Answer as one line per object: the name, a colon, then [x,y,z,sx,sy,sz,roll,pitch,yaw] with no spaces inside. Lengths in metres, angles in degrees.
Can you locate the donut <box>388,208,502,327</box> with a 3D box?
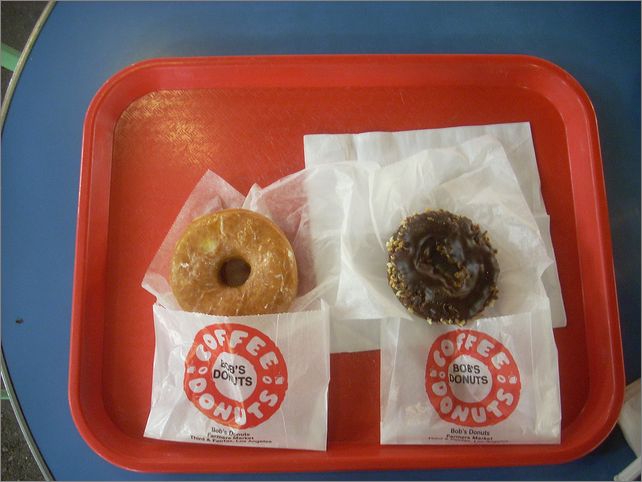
donut: [0.362,0.075,1.949,0.331,0.068,0.339,2,84,1]
